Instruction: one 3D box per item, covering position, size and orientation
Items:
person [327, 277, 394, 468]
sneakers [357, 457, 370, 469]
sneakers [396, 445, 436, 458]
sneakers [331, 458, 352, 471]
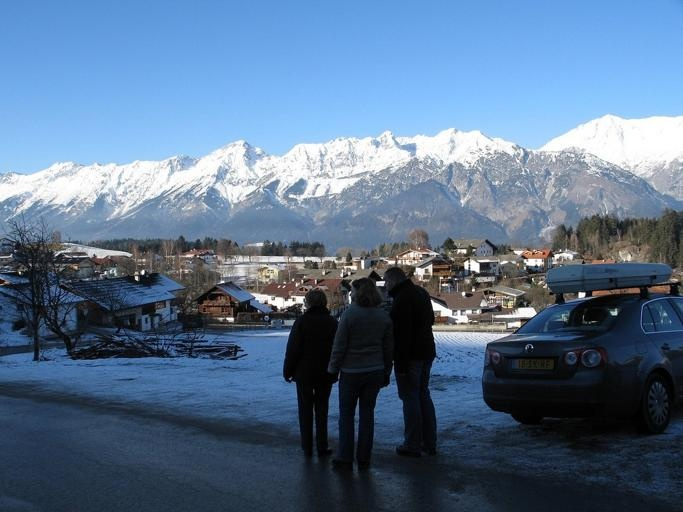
[{"bbox_3d":[0.266,1.526,8.506,0.861,2.419,0.505,-3,3,-38],"label":"person"},{"bbox_3d":[0.281,2.692,8.303,0.164,0.109,0.173,-1,2,6],"label":"sneakers"},{"bbox_3d":[1.014,2.603,8.663,0.502,0.231,0.193,3,-3,7],"label":"sneakers"},{"bbox_3d":[-0.002,2.715,8.322,0.263,0.119,0.099,13,5,41],"label":"sneakers"}]
